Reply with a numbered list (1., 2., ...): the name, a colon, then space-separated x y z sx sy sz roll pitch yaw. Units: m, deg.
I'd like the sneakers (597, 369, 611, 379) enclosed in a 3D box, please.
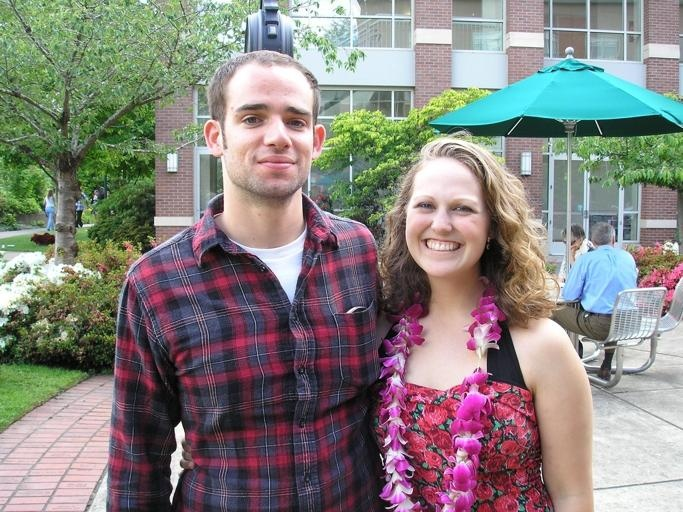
1. sneakers: 2.692 1.211 6.839 0.086 0.109 0.112 1 7 14
